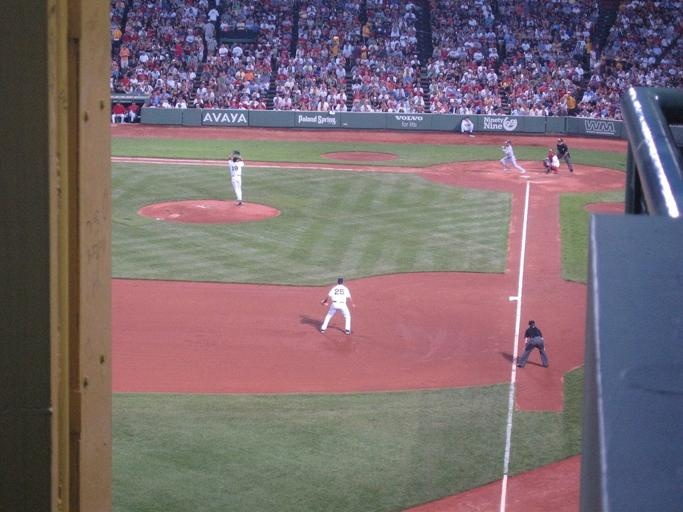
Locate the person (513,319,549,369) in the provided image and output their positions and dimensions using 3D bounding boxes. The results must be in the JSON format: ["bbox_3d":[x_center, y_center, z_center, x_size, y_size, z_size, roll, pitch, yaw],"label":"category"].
[{"bbox_3d":[2.546,1.211,14.227,0.568,0.977,0.340,0,52,6],"label":"person"}]

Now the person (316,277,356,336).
[{"bbox_3d":[-0.042,0.679,14.909,0.441,0.793,0.273,5,13,-1],"label":"person"}]

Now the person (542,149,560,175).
[{"bbox_3d":[6.095,-2.743,30.727,0.388,0.723,1.191,4,15,10],"label":"person"}]
